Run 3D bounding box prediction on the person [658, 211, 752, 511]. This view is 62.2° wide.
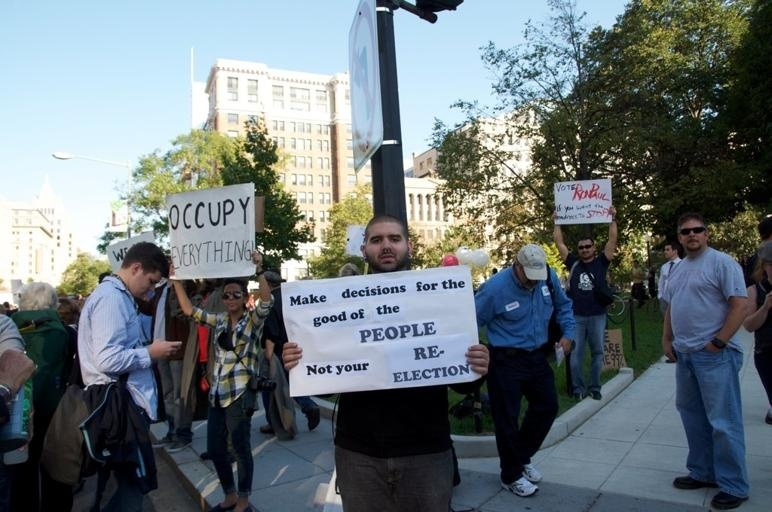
[{"bbox_3d":[3.943,1.235,7.858,0.631,3.458,1.011,-7,9,-31],"label":"person"}]

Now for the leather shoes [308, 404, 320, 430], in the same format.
[{"bbox_3d":[-1.205,2.570,10.344,0.169,0.416,0.280,-3,4,-25],"label":"leather shoes"}]

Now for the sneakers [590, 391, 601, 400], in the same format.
[{"bbox_3d":[3.542,2.340,10.802,0.187,0.118,0.268,-2,8,10],"label":"sneakers"}]

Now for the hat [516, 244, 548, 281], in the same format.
[{"bbox_3d":[1.898,0.047,8.228,0.360,0.300,0.561,1,33,-13],"label":"hat"}]

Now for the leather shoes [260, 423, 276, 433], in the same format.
[{"bbox_3d":[-1.962,2.819,10.505,0.288,0.128,0.111,5,-1,20],"label":"leather shoes"}]

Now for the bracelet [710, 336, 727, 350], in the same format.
[{"bbox_3d":[3.989,1.053,7.701,0.140,0.116,0.144,14,28,-7],"label":"bracelet"}]

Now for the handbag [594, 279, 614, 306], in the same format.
[{"bbox_3d":[3.709,0.636,10.900,0.145,0.406,0.287,6,-7,-43],"label":"handbag"}]

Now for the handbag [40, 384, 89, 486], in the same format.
[{"bbox_3d":[-3.533,1.995,7.162,0.641,1.038,0.365,1,8,24],"label":"handbag"}]

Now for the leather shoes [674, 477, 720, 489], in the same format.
[{"bbox_3d":[3.895,2.860,8.083,0.507,0.208,0.194,-1,-5,7],"label":"leather shoes"}]

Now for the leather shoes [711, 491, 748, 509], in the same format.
[{"bbox_3d":[4.047,2.925,7.667,0.441,0.192,0.184,5,-26,-5],"label":"leather shoes"}]
